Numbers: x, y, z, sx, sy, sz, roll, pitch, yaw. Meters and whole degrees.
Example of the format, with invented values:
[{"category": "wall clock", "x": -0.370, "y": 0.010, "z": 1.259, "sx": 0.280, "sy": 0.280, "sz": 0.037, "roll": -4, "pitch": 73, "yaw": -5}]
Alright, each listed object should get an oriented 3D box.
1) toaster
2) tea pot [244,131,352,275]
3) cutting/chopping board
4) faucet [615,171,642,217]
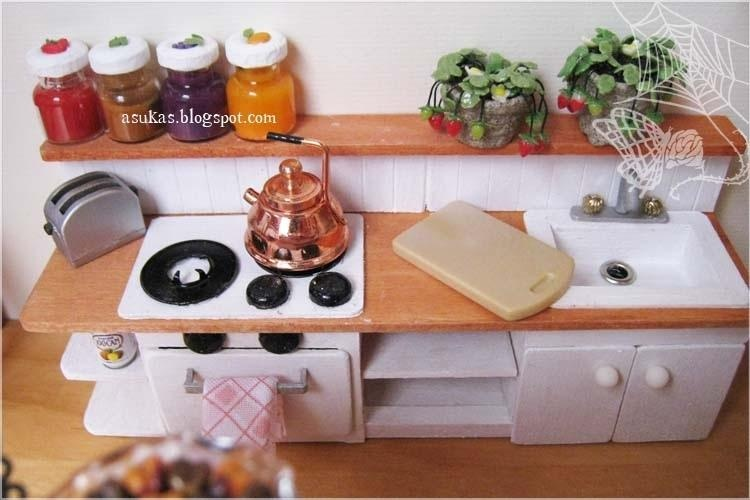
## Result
[{"category": "toaster", "x": -0.869, "y": -0.102, "z": 1.747, "sx": 0.146, "sy": 0.203, "sz": 0.281, "roll": 32, "pitch": 46, "yaw": 27}, {"category": "tea pot", "x": -0.234, "y": -0.169, "z": 1.692, "sx": 0.368, "sy": 0.331, "sz": 0.325, "roll": -4, "pitch": 36, "yaw": -8}, {"category": "cutting/chopping board", "x": 0.320, "y": 0.022, "z": 1.692, "sx": 0.479, "sy": 0.063, "sz": 0.290, "roll": 34, "pitch": 55, "yaw": 28}, {"category": "faucet", "x": 0.812, "y": -0.170, "z": 1.807, "sx": 0.081, "sy": 0.120, "sz": 0.050, "roll": 14, "pitch": 47, "yaw": 18}]
